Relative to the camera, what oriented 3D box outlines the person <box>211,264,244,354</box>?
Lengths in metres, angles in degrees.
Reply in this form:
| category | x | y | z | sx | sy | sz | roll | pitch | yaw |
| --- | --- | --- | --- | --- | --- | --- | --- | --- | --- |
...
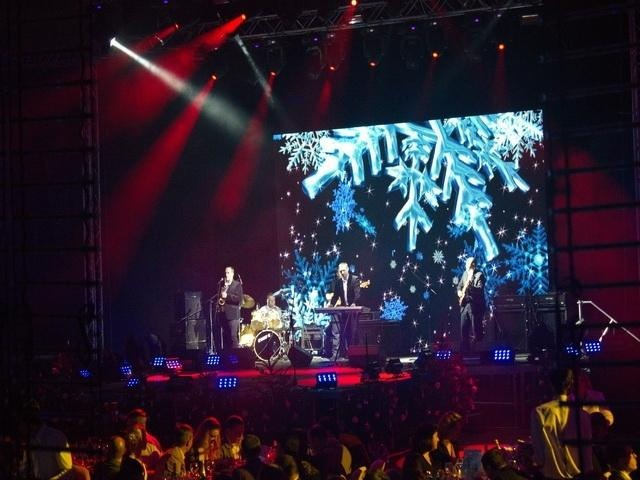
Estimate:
| category | x | y | z | sx | sy | sz | roll | pitch | yaw |
| --- | --- | --- | --- | --- | --- | --- | --- | --- | --- |
| person | -1.829 | 1.383 | 13.803 | 0.545 | 1.618 | 0.710 | 2 | -11 | -12 |

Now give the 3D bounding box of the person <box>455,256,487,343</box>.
| category | x | y | z | sx | sy | sz | roll | pitch | yaw |
| --- | --- | --- | --- | --- | --- | --- | --- | --- | --- |
| person | 2.846 | 1.129 | 12.947 | 0.502 | 1.558 | 0.499 | -4 | -11 | 18 |

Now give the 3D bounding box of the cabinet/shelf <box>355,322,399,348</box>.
| category | x | y | z | sx | sy | sz | roll | pitch | yaw |
| --- | --- | --- | --- | --- | --- | --- | --- | --- | --- |
| cabinet/shelf | 1.004 | 1.708 | 12.420 | 0.404 | 0.483 | 0.658 | 0 | -1 | -2 |

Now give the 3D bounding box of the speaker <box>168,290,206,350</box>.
| category | x | y | z | sx | sy | sz | roll | pitch | yaw |
| --- | --- | --- | --- | --- | --- | --- | --- | --- | --- |
| speaker | -2.556 | 1.582 | 13.499 | 0.521 | 1.214 | 0.862 | -2 | -11 | 7 |

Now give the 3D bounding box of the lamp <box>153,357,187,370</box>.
| category | x | y | z | sx | sy | sz | roll | pitch | yaw |
| --- | --- | --- | --- | --- | --- | --- | --- | --- | --- |
| lamp | -2.550 | 2.073 | 11.531 | 0.333 | 0.134 | 0.260 | 0 | -4 | 11 |

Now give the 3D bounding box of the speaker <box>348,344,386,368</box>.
| category | x | y | z | sx | sy | sz | roll | pitch | yaw |
| --- | --- | --- | --- | --- | --- | --- | --- | --- | --- |
| speaker | 0.729 | 1.853 | 11.130 | 0.464 | 0.351 | 0.457 | -1 | -18 | 3 |

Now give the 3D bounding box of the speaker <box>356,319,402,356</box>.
| category | x | y | z | sx | sy | sz | roll | pitch | yaw |
| --- | --- | --- | --- | --- | --- | --- | --- | --- | --- |
| speaker | 1.120 | 1.735 | 12.318 | 0.818 | 0.671 | 0.873 | -3 | -3 | 21 |

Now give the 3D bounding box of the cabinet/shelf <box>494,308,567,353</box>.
| category | x | y | z | sx | sy | sz | roll | pitch | yaw |
| --- | --- | --- | --- | --- | --- | --- | --- | --- | --- |
| cabinet/shelf | 3.955 | 1.621 | 13.083 | 0.721 | 0.958 | 0.953 | 22 | 12 | 40 |

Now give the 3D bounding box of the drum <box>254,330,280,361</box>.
| category | x | y | z | sx | sy | sz | roll | pitch | yaw |
| --- | --- | --- | --- | --- | --- | --- | --- | --- | --- |
| drum | -0.994 | 1.998 | 13.047 | 0.552 | 0.588 | 0.362 | 0 | -11 | -7 |
